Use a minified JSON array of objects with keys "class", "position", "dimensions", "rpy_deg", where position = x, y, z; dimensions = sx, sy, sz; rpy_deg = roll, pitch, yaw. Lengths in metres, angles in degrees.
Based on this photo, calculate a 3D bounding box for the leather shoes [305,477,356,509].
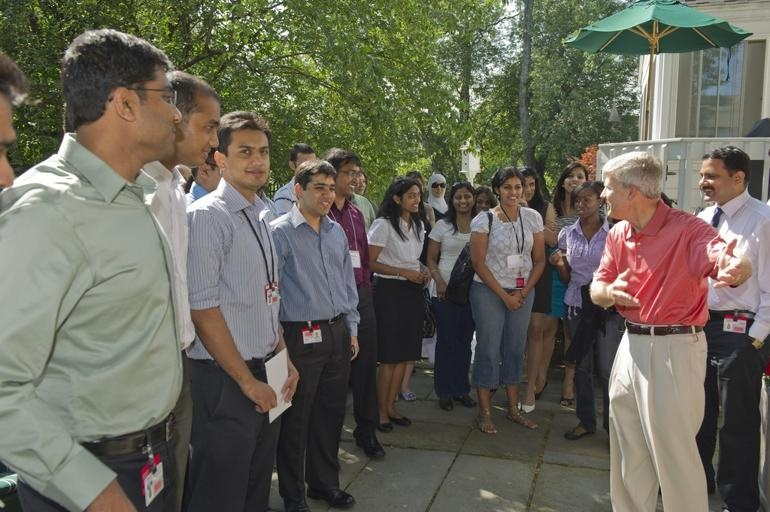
[{"class":"leather shoes","position":[-0.393,1.783,5.107],"dimensions":[0.389,0.185,0.151],"rpy_deg":[6,14,22]}]

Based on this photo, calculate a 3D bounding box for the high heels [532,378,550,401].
[{"class":"high heels","position":[1.640,1.411,7.030],"dimensions":[0.097,0.289,0.106],"rpy_deg":[12,-26,41]}]

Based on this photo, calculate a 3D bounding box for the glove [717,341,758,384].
[{"class":"glove","position":[2.590,0.769,4.857],"dimensions":[0.257,0.071,0.267],"rpy_deg":[-39,22,40]}]

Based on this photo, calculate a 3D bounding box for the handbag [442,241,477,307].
[{"class":"handbag","position":[0.735,0.192,6.483],"dimensions":[0.247,0.628,0.459],"rpy_deg":[16,16,-3]}]

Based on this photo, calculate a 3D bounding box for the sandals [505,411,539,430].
[{"class":"sandals","position":[1.312,1.561,6.450],"dimensions":[0.338,0.145,0.106],"rpy_deg":[3,28,46]}]

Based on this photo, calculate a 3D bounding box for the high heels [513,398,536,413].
[{"class":"high heels","position":[1.382,1.483,6.599],"dimensions":[0.163,0.157,0.443],"rpy_deg":[-1,-4,11]}]

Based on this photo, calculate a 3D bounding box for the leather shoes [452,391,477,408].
[{"class":"leather shoes","position":[0.834,1.479,6.920],"dimensions":[0.288,0.122,0.110],"rpy_deg":[3,9,40]}]

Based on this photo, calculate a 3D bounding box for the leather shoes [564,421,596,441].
[{"class":"leather shoes","position":[1.776,1.593,6.105],"dimensions":[0.309,0.120,0.118],"rpy_deg":[-2,6,-19]}]

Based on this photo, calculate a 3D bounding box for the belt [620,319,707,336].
[{"class":"belt","position":[1.825,0.483,4.377],"dimensions":[0.458,0.102,0.134],"rpy_deg":[4,11,21]}]

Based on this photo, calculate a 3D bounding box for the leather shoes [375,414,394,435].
[{"class":"leather shoes","position":[0.001,1.569,6.240],"dimensions":[0.124,0.060,0.228],"rpy_deg":[-1,2,-30]}]

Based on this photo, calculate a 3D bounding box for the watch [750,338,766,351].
[{"class":"watch","position":[2.687,0.638,4.807],"dimensions":[0.078,0.066,0.062],"rpy_deg":[-15,15,-12]}]

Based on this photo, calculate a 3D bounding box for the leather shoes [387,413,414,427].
[{"class":"leather shoes","position":[0.156,1.567,6.387],"dimensions":[0.226,0.061,0.084],"rpy_deg":[-1,-2,23]}]

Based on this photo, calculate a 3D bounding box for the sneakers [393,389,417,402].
[{"class":"sneakers","position":[0.202,1.453,6.950],"dimensions":[0.191,0.128,0.482],"rpy_deg":[0,-8,-4]}]
